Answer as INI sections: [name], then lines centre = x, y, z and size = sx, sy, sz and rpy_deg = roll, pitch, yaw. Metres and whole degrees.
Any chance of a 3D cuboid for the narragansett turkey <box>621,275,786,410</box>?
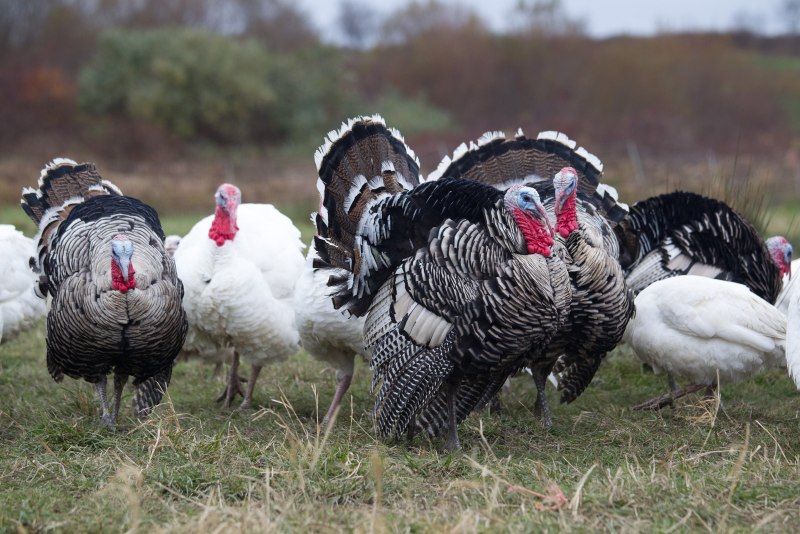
[narragansett turkey]
centre = 2.729, 0.702, 8.737
size = 1.772, 0.988, 0.891
rpy_deg = 3, -13, 39
